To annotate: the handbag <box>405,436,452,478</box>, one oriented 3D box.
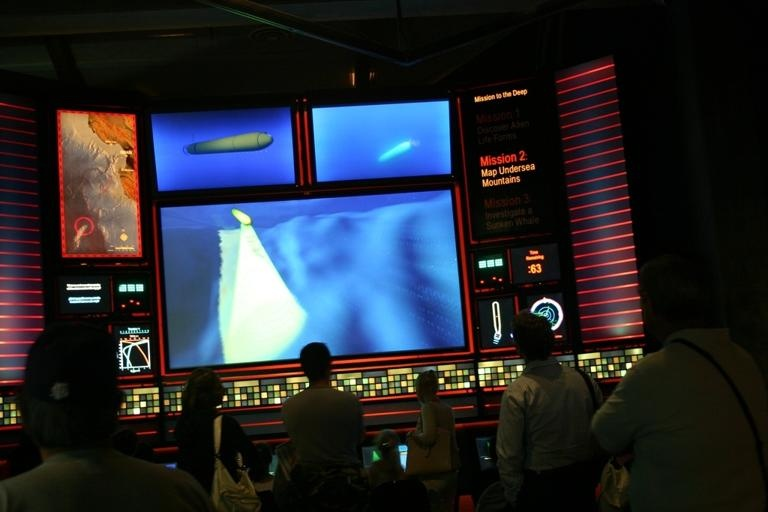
[{"bbox_3d":[0.358,1.676,6.555,0.514,0.427,0.177,4,-3,-31],"label":"handbag"}]
